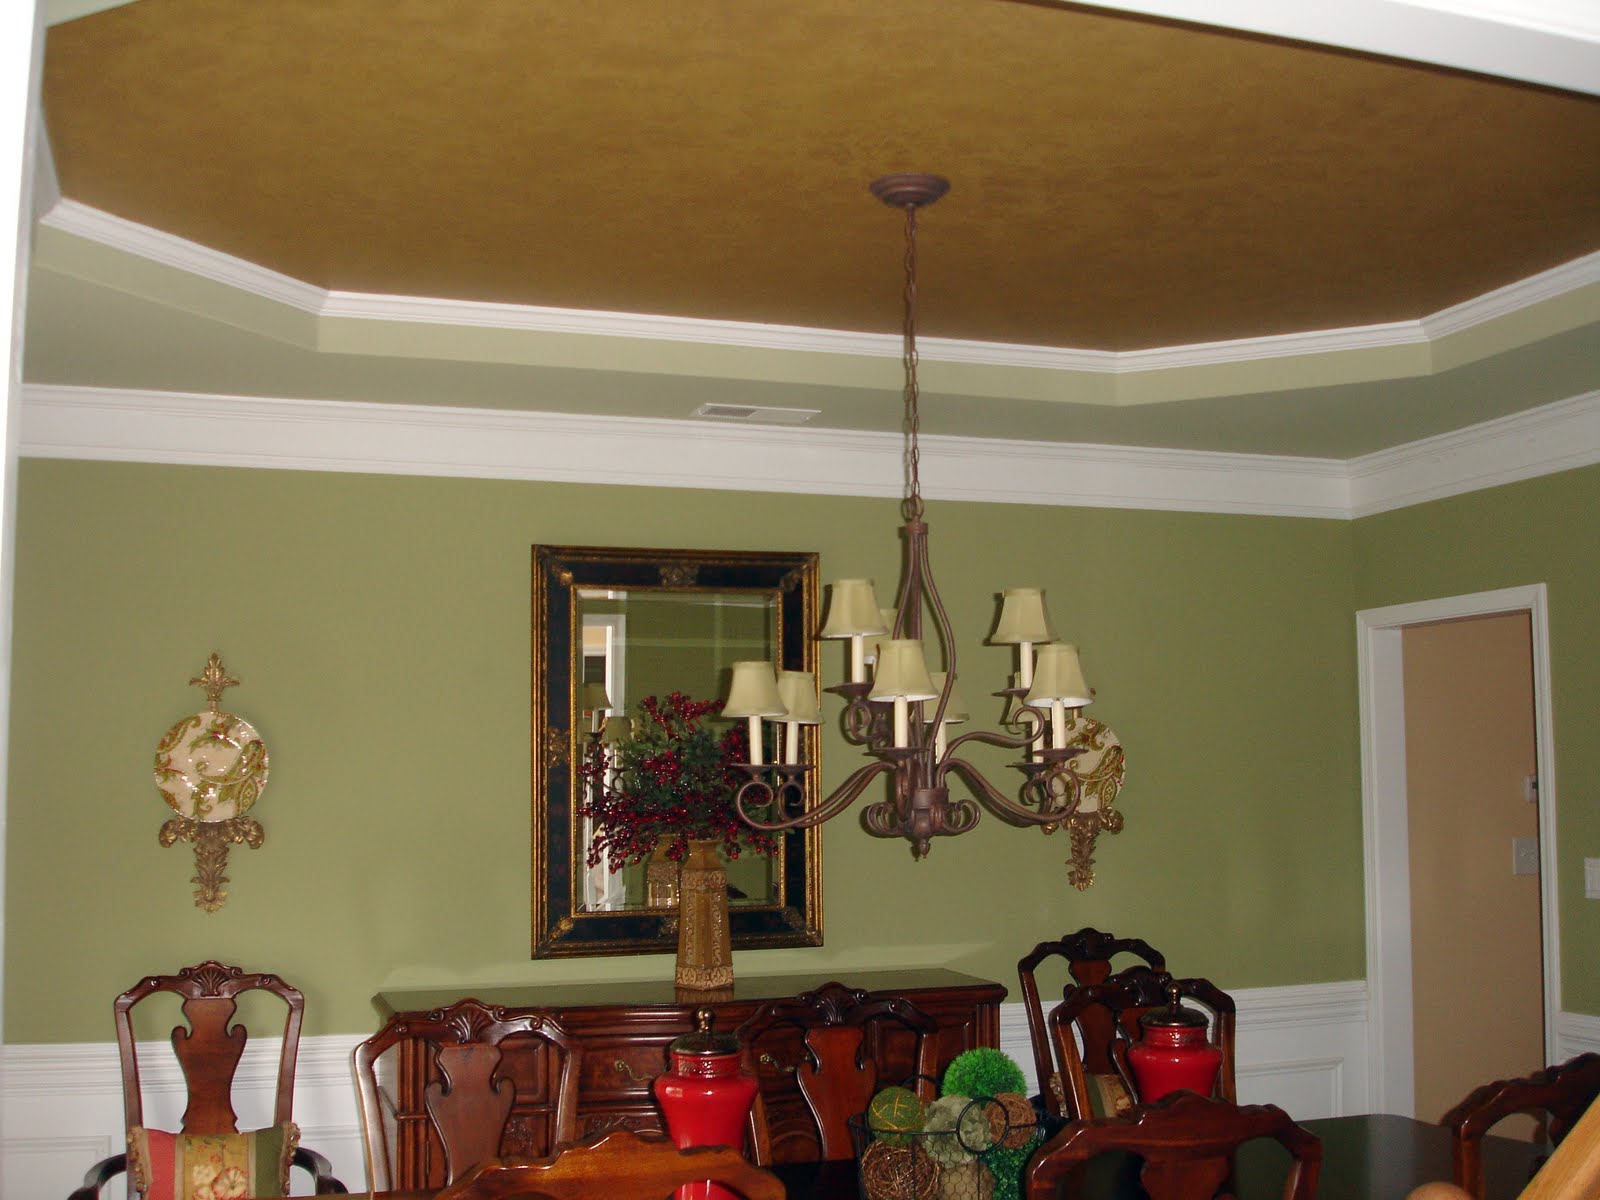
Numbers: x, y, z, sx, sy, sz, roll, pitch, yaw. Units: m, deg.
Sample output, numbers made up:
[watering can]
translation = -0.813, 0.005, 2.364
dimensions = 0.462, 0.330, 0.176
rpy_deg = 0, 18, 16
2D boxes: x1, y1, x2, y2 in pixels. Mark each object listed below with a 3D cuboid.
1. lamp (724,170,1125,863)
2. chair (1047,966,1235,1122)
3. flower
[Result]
[lamp]
translation = 0.324, -0.281, 4.500
dimensions = 1.077, 1.967, 1.286
rpy_deg = 0, -5, -4
[chair]
translation = 1.012, 1.337, 4.614
dimensions = 0.410, 0.708, 0.459
rpy_deg = 0, -23, 0
[flower]
translation = -0.463, 0.704, 5.805
dimensions = 0.634, 0.740, 0.668
rpy_deg = -3, -7, -1
